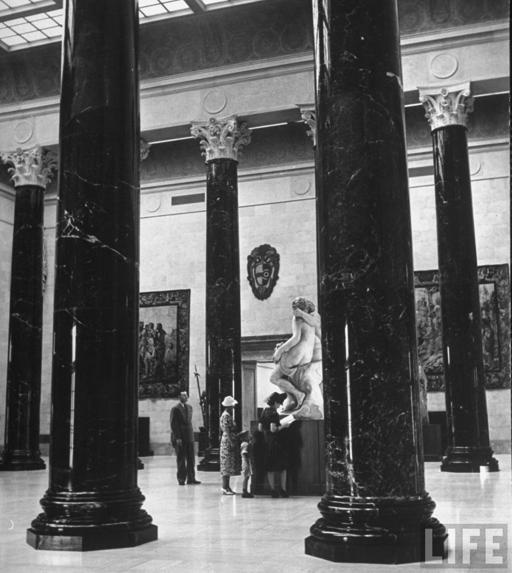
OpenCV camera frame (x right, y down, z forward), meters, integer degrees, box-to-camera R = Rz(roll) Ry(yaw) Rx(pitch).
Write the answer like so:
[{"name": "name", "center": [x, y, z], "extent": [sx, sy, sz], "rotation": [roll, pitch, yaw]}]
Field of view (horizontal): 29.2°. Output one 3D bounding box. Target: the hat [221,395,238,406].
[{"name": "hat", "center": [-0.319, 1.365, 11.742], "extent": [0.185, 0.091, 0.274], "rotation": [0, -12, 2]}]

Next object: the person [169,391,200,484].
[{"name": "person", "center": [-0.899, 1.910, 12.598], "extent": [0.358, 1.246, 1.008], "rotation": [0, -11, -4]}]

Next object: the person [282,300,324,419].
[{"name": "person", "center": [0.539, 0.832, 11.092], "extent": [0.413, 1.350, 0.526], "rotation": [-1, -10, -3]}]

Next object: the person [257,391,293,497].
[{"name": "person", "center": [0.193, 1.714, 10.741], "extent": [0.305, 1.139, 0.343], "rotation": [-1, -10, 1]}]
